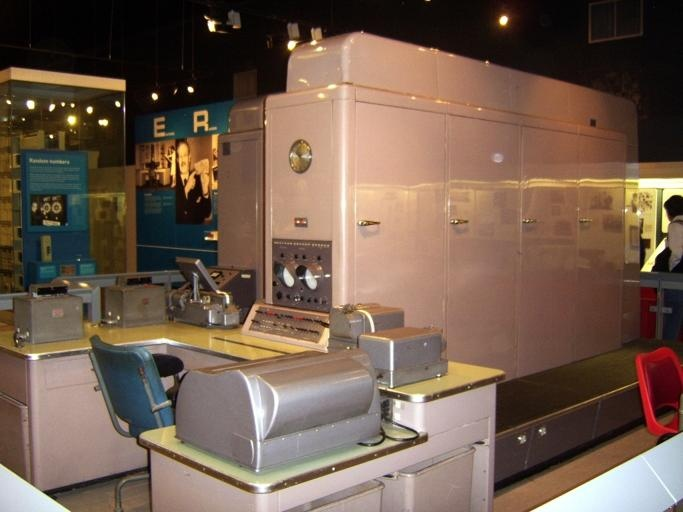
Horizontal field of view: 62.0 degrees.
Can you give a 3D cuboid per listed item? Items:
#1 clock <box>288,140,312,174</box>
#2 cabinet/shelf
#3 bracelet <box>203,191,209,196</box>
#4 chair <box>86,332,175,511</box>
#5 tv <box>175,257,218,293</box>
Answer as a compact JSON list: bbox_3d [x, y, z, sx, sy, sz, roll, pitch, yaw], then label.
[{"bbox_3d":[-0.292,-0.713,4.072,0.229,0.235,0.008,2,6,36],"label":"clock"},{"bbox_3d":[1.256,-0.334,5.428,3.674,2.605,1.069,-3,4,-32],"label":"cabinet/shelf"},{"bbox_3d":[-2.208,-1.007,9.243,0.026,0.089,0.164,-6,7,-37],"label":"bracelet"},{"bbox_3d":[-1.316,1.101,3.609,0.398,1.235,0.771,-6,7,-36],"label":"chair"},{"bbox_3d":[-1.191,0.134,4.695,0.245,0.293,0.424,-3,5,-42],"label":"tv"}]
